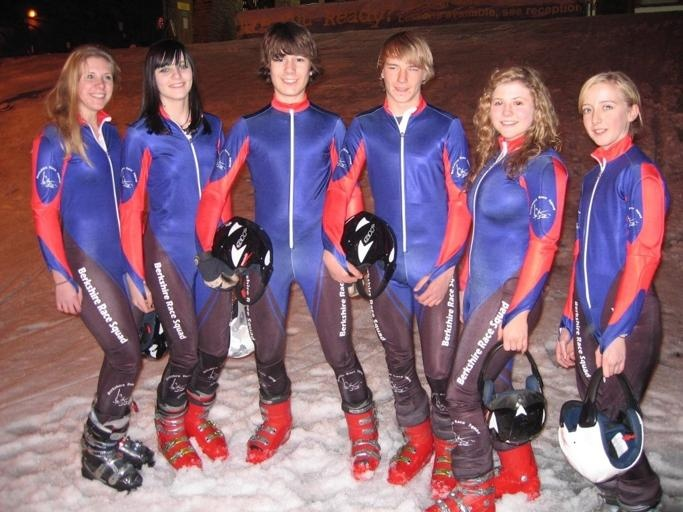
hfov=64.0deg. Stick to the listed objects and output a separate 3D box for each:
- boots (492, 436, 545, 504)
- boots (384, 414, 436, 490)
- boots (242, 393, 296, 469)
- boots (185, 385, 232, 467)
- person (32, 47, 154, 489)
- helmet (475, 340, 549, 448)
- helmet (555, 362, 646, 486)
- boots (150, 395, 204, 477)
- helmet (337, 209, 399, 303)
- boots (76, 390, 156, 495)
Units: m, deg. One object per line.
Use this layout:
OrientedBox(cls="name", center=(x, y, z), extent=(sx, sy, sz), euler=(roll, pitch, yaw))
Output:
OrientedBox(cls="boots", center=(1.091, 1.339, 3.405), extent=(0.265, 0.347, 0.207), euler=(-3, -1, 42))
OrientedBox(cls="boots", center=(0.470, 1.258, 3.581), extent=(0.173, 0.354, 0.535), euler=(0, 15, 43))
OrientedBox(cls="boots", center=(-0.514, 1.175, 3.771), extent=(0.174, 0.369, 0.519), euler=(0, 12, 30))
OrientedBox(cls="boots", center=(-0.935, 1.169, 3.785), extent=(0.439, 0.402, 0.161), euler=(18, 8, 36))
OrientedBox(cls="person", center=(-1.548, 0.089, 3.401), extent=(0.601, 2.658, 0.924), euler=(-8, 20, -15))
OrientedBox(cls="helmet", center=(0.911, 0.762, 3.170), extent=(0.423, 0.550, 0.544), euler=(-4, 30, 1))
OrientedBox(cls="helmet", center=(1.376, 0.885, 2.917), extent=(0.424, 0.578, 0.431), euler=(0, 3, 0))
OrientedBox(cls="boots", center=(-1.114, 1.220, 3.707), extent=(0.219, 0.397, 0.581), euler=(-5, 11, -36))
OrientedBox(cls="helmet", center=(0.231, 0.026, 3.420), extent=(0.529, 0.395, 0.313), euler=(28, 36, -41))
OrientedBox(cls="boots", center=(-1.482, 1.251, 3.508), extent=(0.675, 0.653, 0.315), euler=(14, 30, -14))
